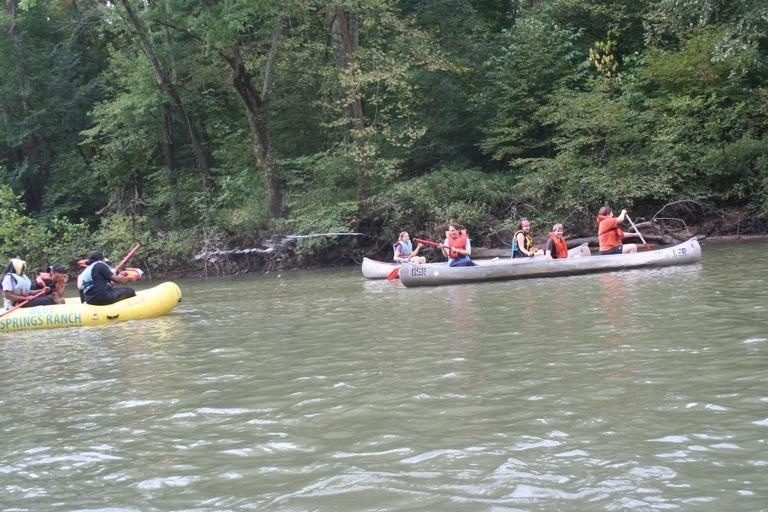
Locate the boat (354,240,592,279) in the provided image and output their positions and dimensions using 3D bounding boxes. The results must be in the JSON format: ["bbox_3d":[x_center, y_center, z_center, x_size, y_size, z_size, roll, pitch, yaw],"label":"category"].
[{"bbox_3d":[3.057,0.138,30.870,8.569,0.826,1.295,-3,-2,18],"label":"boat"}]

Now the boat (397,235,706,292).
[{"bbox_3d":[5.105,0.259,29.384,8.431,0.834,1.177,-5,-9,1],"label":"boat"}]

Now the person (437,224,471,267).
[{"bbox_3d":[2.204,-0.300,29.645,1.085,1.167,0.551,-2,6,15],"label":"person"}]
